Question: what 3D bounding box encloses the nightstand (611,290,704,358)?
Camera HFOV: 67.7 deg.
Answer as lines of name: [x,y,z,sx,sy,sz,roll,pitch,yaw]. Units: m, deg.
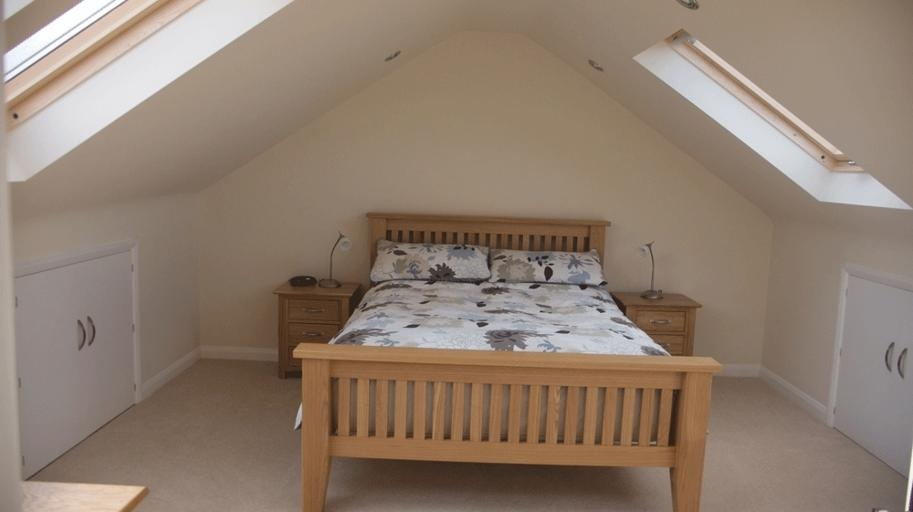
nightstand: [1.820,0.553,6.249,0.765,0.802,0.572,-1,13,-5]
